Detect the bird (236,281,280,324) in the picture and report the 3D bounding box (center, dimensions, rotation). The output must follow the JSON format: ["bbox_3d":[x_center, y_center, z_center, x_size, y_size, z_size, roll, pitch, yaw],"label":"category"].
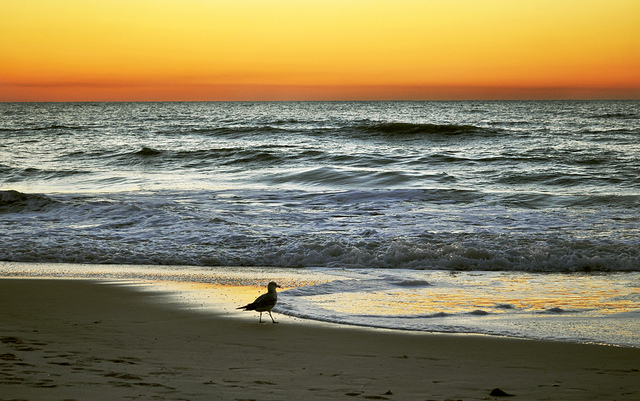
[{"bbox_3d":[-1.219,2.073,17.924,0.768,0.722,0.688,-5,15,-2],"label":"bird"}]
